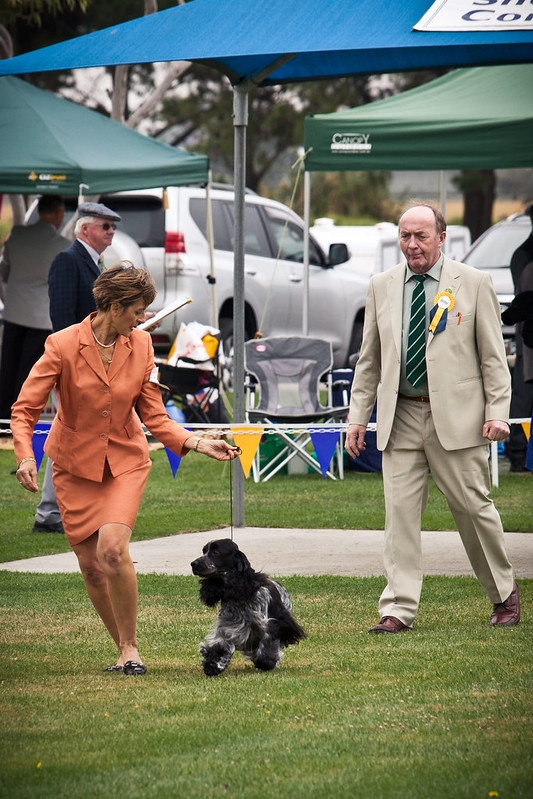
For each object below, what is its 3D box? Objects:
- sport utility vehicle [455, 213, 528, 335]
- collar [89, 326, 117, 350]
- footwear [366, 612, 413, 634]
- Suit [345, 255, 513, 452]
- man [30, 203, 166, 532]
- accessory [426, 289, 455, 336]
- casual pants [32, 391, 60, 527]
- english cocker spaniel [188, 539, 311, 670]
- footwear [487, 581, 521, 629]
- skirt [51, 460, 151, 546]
[{"bbox_3d":[2.483,-1.337,17.780,0.934,1.012,2.205,1,7,18],"label":"sport utility vehicle"},{"bbox_3d":[-0.621,-0.236,6.374,0.074,0.079,0.018,-8,-4,-24],"label":"collar"},{"bbox_3d":[0.525,0.966,7.097,0.192,0.088,0.068,7,-10,-39],"label":"footwear"},{"bbox_3d":[0.712,-0.198,7.233,0.740,0.848,0.329,1,4,20],"label":"Suit"},{"bbox_3d":[-1.112,-0.234,9.346,0.448,2.045,0.522,-4,10,-36],"label":"man"},{"bbox_3d":[0.753,-0.373,7.098,0.114,0.194,0.063,0,4,4],"label":"accessory"},{"bbox_3d":[-1.282,0.398,9.715,0.088,0.642,0.120,13,20,29],"label":"casual pants"},{"bbox_3d":[-0.051,0.821,6.536,0.381,0.523,0.747,-4,-5,24],"label":"english cocker spaniel"},{"bbox_3d":[1.043,0.910,7.226,0.078,0.094,0.230,-8,29,30],"label":"footwear"},{"bbox_3d":[-0.651,0.356,6.437,0.373,0.569,0.286,-1,-1,-12],"label":"skirt"}]
